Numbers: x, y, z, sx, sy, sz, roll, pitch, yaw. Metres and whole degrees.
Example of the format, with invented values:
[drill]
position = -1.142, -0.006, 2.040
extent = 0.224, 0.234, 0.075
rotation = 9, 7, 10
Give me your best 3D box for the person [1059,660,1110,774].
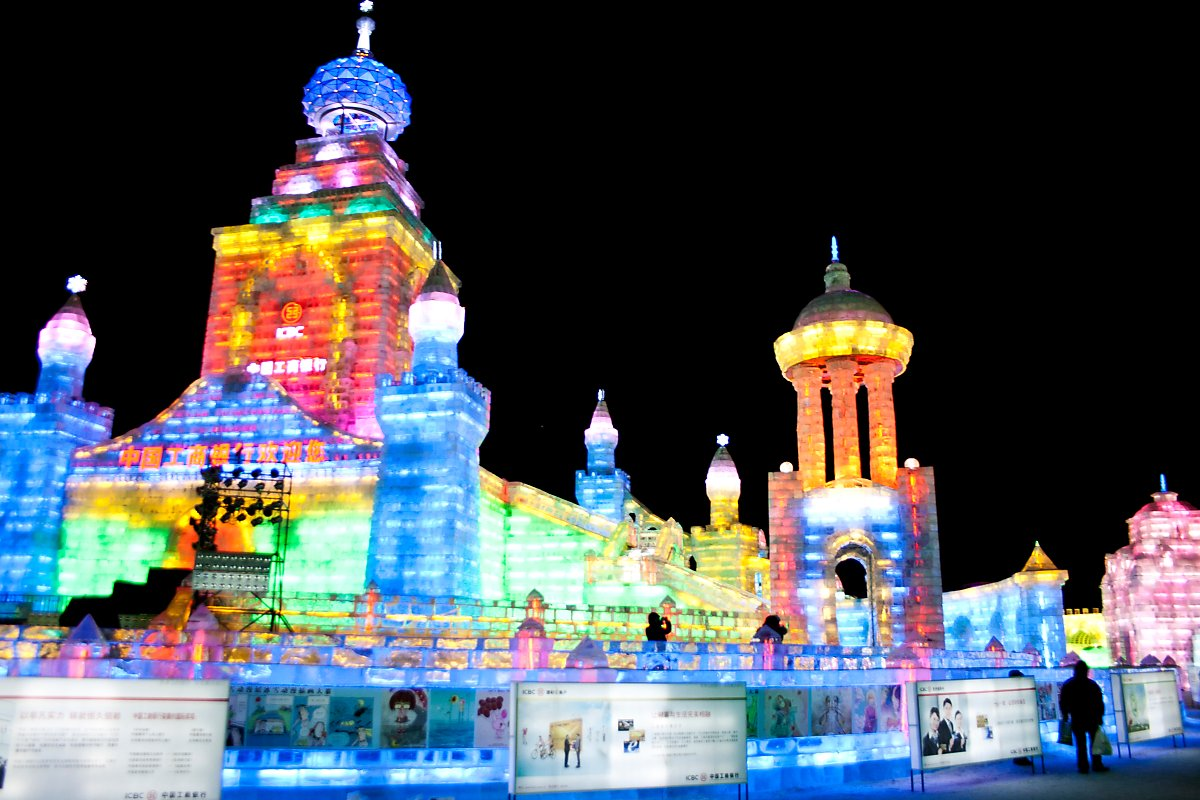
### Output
[person]
position = 11.588, 7.599, 28.852
extent = 0.921, 2.622, 1.052
rotation = -8, -21, 18
